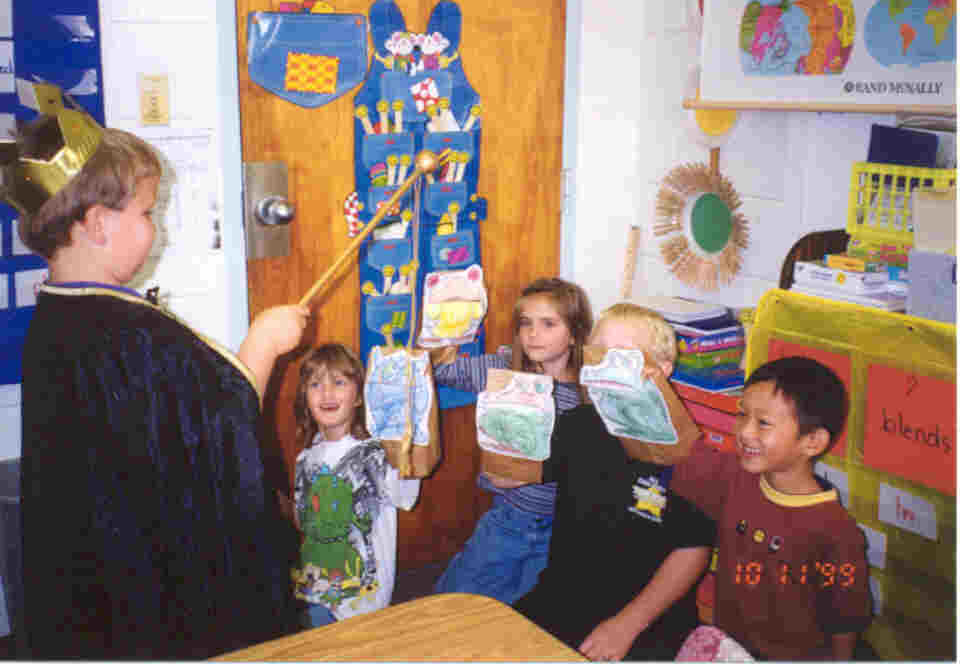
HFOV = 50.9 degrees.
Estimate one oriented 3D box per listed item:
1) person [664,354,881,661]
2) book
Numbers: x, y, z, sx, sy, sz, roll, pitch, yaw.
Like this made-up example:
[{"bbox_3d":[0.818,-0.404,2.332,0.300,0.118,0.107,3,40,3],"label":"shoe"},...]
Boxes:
[{"bbox_3d":[0.872,0.527,3.026,0.577,0.888,0.162,4,9,12],"label":"person"},{"bbox_3d":[1.123,-0.158,3.047,0.236,0.072,0.175,11,11,38],"label":"book"}]
